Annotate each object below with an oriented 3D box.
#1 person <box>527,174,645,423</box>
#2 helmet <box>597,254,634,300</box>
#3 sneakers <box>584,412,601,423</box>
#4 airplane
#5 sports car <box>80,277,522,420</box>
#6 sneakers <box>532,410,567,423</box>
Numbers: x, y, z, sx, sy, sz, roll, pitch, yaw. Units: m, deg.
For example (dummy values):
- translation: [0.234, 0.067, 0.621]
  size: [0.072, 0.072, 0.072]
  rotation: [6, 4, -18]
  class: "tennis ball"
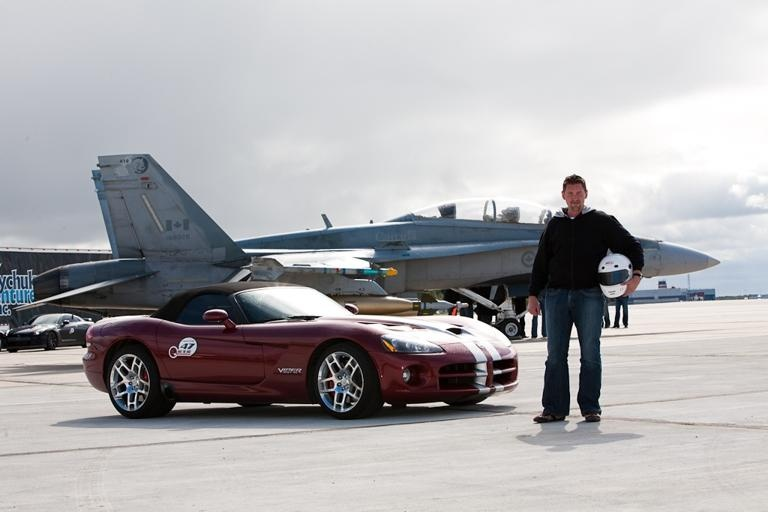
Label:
- translation: [2.042, 0.428, 7.609]
  size: [1.094, 2.225, 0.603]
  rotation: [1, 0, 12]
  class: "person"
- translation: [2.299, 0.204, 7.620]
  size: [0.387, 0.386, 0.473]
  rotation: [-11, 2, 30]
  class: "helmet"
- translation: [2.067, 1.593, 7.380]
  size: [0.168, 0.098, 0.214]
  rotation: [0, 0, 13]
  class: "sneakers"
- translation: [-2.250, -0.001, 21.091]
  size: [13.177, 2.850, 8.619]
  rotation: [-1, 1, -15]
  class: "airplane"
- translation: [-1.152, 1.159, 8.652]
  size: [4.184, 0.941, 2.009]
  rotation: [-3, -4, 17]
  class: "sports car"
- translation: [1.657, 1.618, 7.476]
  size: [0.359, 0.097, 0.113]
  rotation: [3, -6, -18]
  class: "sneakers"
